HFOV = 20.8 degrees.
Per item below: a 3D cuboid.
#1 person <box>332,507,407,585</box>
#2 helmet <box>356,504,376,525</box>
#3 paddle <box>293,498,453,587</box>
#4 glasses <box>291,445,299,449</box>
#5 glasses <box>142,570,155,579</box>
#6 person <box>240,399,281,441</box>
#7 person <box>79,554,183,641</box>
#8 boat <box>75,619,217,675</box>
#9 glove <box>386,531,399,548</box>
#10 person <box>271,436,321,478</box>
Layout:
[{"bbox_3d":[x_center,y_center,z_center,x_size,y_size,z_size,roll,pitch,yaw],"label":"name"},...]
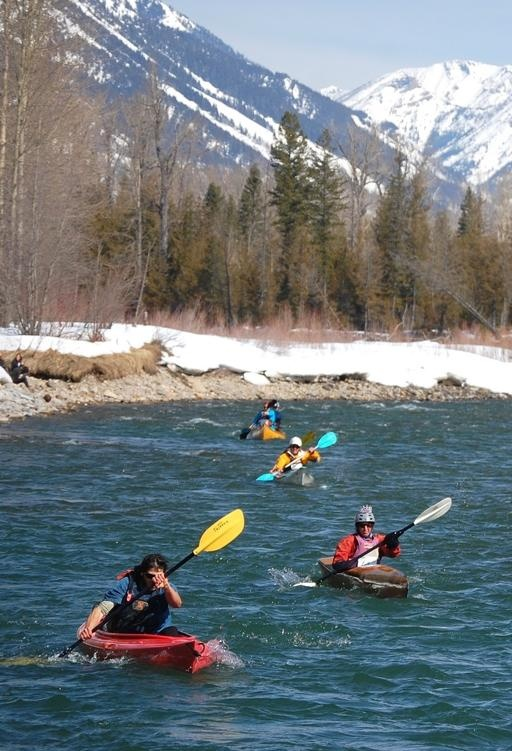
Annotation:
[{"bbox_3d":[1.396,2.191,17.089,0.609,1.181,1.278,-4,6,-10],"label":"person"},{"bbox_3d":[1.365,1.739,17.398,0.159,0.278,0.302,4,-9,-1],"label":"helmet"},{"bbox_3d":[1.553,2.268,18.568,1.408,0.217,0.083,-39,30,-3],"label":"paddle"},{"bbox_3d":[0.641,1.216,23.567,0.080,0.058,0.120,1,-11,-4],"label":"glasses"},{"bbox_3d":[-1.139,2.113,14.707,0.039,0.094,0.160,-3,10,-33],"label":"glasses"},{"bbox_3d":[0.085,1.096,28.153,0.445,0.437,1.083,17,-30,-5],"label":"person"},{"bbox_3d":[-1.287,2.347,14.944,0.679,0.597,1.078,-1,5,-26],"label":"person"},{"bbox_3d":[-1.148,2.989,15.152,1.529,0.664,0.355,5,-25,13],"label":"boat"},{"bbox_3d":[1.651,2.020,17.035,0.158,0.265,0.277,3,8,7],"label":"glove"},{"bbox_3d":[0.605,1.414,23.761,0.491,0.369,0.816,2,9,-8],"label":"person"}]
